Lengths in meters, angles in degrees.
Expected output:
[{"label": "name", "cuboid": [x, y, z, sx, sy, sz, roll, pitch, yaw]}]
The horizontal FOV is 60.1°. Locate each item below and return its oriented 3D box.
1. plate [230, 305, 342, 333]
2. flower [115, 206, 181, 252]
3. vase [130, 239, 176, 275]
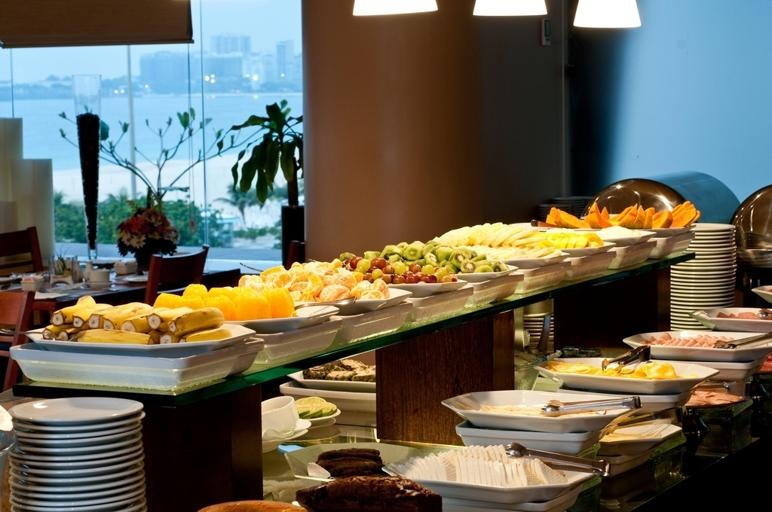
[{"label": "plate", "cuboid": [-0.193, 0.116, 1.230, 0.175, 0.019, 0.119, -5, 11, 12]}, {"label": "flower", "cuboid": [-1.828, -0.204, 5.058, 0.414, 0.345, 0.355, 3, 3, 5]}, {"label": "vase", "cuboid": [-1.732, 0.011, 4.998, 0.317, 0.261, 0.271, 1, 4, 1]}]
